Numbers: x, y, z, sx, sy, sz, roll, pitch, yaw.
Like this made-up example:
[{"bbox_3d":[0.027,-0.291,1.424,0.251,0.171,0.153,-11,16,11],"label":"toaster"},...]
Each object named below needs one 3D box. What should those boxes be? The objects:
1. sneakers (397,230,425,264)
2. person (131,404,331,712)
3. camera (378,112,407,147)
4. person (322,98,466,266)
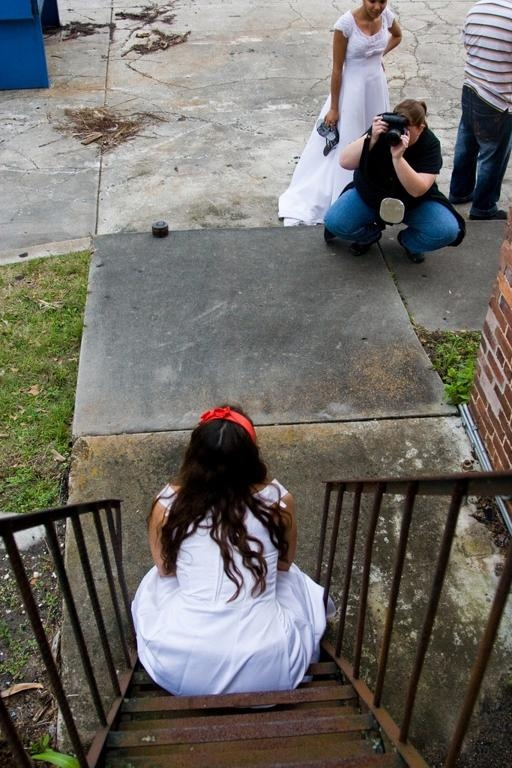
[{"bbox_3d":[1.172,-1.031,4.434,0.072,0.226,0.153,-28,-9,13],"label":"sneakers"},{"bbox_3d":[-0.066,0.494,1.912,0.670,0.853,0.556,-1,14,-9],"label":"person"},{"bbox_3d":[0.856,-1.601,3.715,0.170,0.171,0.194,11,33,16],"label":"camera"},{"bbox_3d":[1.004,-1.473,4.292,0.795,1.115,0.839,-14,34,-24],"label":"person"}]
